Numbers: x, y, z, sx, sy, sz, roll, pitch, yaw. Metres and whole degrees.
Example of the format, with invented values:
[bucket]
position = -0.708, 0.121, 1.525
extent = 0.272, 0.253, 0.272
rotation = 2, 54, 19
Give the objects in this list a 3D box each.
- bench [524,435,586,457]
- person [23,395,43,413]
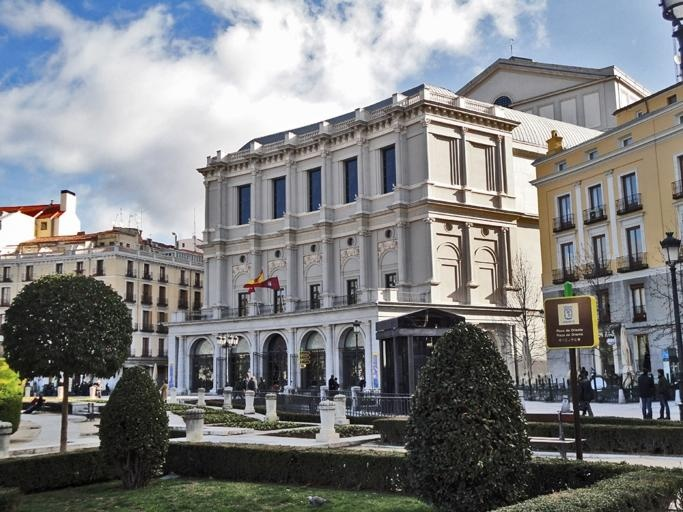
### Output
[bench]
position = 6.088, 5.293, 21.889
extent = 1.435, 0.657, 4.500
rotation = -5, -16, 16
[person]
position = -17.949, 8.607, 45.623
extent = 0.953, 1.140, 2.819
rotation = 4, -16, -17
